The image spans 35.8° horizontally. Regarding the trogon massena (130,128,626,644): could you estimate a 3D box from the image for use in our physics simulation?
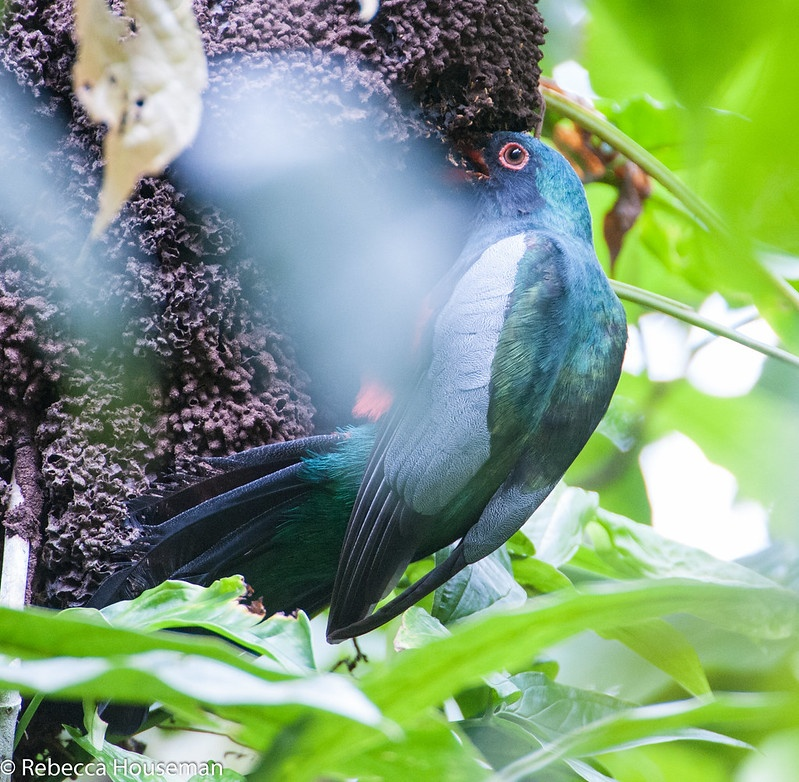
[{"bbox_3d":[0.015,-0.007,0.816,0.200,0.333,0.248,26,19,27],"label":"trogon massena"}]
